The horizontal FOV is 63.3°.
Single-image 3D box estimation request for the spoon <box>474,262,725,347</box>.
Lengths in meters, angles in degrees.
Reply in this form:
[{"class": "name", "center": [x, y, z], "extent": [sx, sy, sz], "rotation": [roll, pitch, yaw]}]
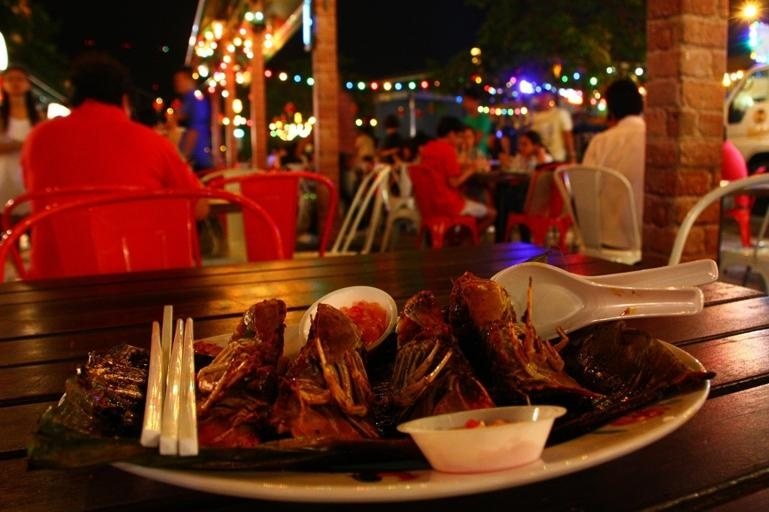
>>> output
[{"class": "spoon", "center": [0.291, 0.056, 0.796], "extent": [0.283, 0.097, 0.152], "rotation": [-3, 3, -5]}]
